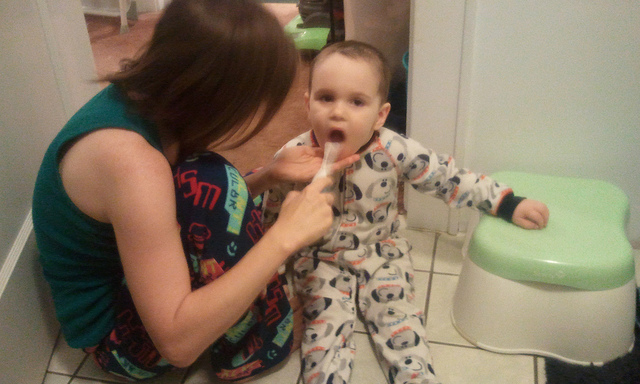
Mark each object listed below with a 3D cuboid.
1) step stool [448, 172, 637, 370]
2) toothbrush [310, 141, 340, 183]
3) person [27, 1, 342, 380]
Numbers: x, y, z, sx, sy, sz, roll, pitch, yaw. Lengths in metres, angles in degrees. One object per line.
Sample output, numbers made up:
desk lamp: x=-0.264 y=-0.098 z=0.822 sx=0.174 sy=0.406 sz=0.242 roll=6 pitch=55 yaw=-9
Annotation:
step stool: x=0.735 y=0.298 z=1.759 sx=0.608 sy=0.359 sz=0.617 roll=11 pitch=26 yaw=27
toothbrush: x=0.027 y=-0.101 z=1.600 sx=0.063 sy=0.155 sz=0.045 roll=22 pitch=-11 yaw=-20
person: x=-0.360 y=0.058 z=1.431 sx=0.714 sy=1.128 sz=0.515 roll=-17 pitch=26 yaw=-36
